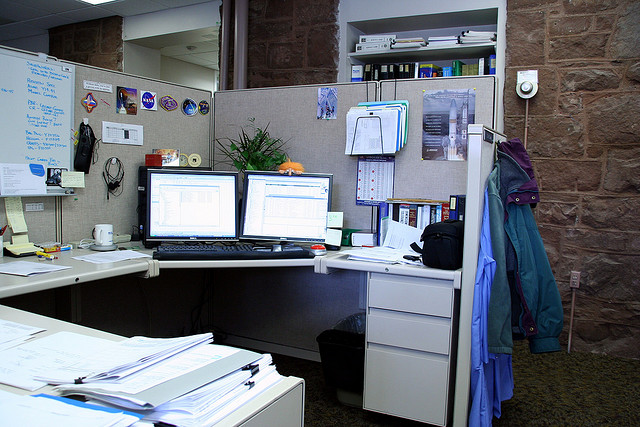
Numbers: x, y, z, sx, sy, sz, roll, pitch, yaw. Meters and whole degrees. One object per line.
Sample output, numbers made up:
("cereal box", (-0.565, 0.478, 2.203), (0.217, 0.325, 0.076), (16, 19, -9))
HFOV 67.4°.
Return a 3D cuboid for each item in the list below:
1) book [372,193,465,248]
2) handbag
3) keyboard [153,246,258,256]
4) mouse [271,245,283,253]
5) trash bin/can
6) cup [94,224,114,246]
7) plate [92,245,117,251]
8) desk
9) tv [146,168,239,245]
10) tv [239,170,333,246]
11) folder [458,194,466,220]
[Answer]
("book", (0.623, 0.046, 2.938), (0.360, 0.318, 0.147), (3, 5, 19))
("handbag", (0.690, 0.172, 2.698), (0.224, 0.249, 0.220), (1, 4, 16))
("keyboard", (-0.668, 0.208, 2.833), (0.558, 0.031, 0.213), (-1, 4, -4))
("mouse", (-0.257, 0.216, 2.892), (0.043, 0.037, 0.070), (-4, -2, -13))
("trash bin/can", (0.150, 0.894, 3.133), (0.342, 0.346, 0.439), (0, -5, 17))
("cup", (-1.332, 0.126, 2.965), (0.110, 0.126, 0.148), (-3, 5, -24))
("plate", (-1.299, 0.206, 2.897), (0.139, 0.030, 0.109), (-2, 4, -23))
("desk", (-0.894, 0.605, 3.094), (1.632, 0.607, 1.523), (3, 0, 32))
("tv", (-0.816, -0.044, 3.021), (0.530, 0.379, 0.051), (1, -3, -14))
("tv", (-0.211, -0.033, 3.068), (0.517, 0.372, 0.052), (3, -4, 5))
("folder", (0.867, -0.038, 2.931), (0.030, 0.145, 0.083), (0, 4, 12))
